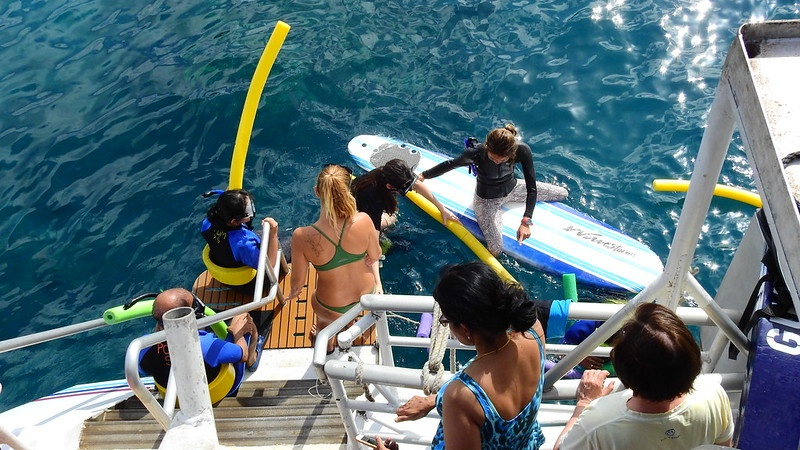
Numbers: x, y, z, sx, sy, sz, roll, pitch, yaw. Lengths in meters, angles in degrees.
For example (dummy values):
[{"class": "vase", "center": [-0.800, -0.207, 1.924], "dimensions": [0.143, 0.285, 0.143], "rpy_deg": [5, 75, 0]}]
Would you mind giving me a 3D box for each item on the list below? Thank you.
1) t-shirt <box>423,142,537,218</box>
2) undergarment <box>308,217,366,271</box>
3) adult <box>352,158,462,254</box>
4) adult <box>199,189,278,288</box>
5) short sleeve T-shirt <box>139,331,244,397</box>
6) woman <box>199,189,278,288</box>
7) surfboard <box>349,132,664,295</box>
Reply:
[{"class": "t-shirt", "center": [1.541, -0.897, 11.797], "dimensions": [1.933, 0.786, 1.264], "rpy_deg": [-14, 48, -14]}, {"class": "undergarment", "center": [-0.780, 0.178, 9.902], "dimensions": [0.936, 0.247, 0.868], "rpy_deg": [-8, 24, -22]}, {"class": "adult", "center": [0.157, -0.244, 11.666], "dimensions": [1.119, 0.572, 1.437], "rpy_deg": [29, -28, -22]}, {"class": "adult", "center": [-2.517, 0.281, 10.887], "dimensions": [0.974, 0.928, 1.288], "rpy_deg": [34, -30, 10]}, {"class": "short sleeve T-shirt", "center": [-2.984, 1.996, 10.008], "dimensions": [1.539, 0.941, 0.787], "rpy_deg": [-3, 24, 6]}, {"class": "woman", "center": [-2.517, 0.281, 10.887], "dimensions": [0.974, 0.928, 1.288], "rpy_deg": [34, -30, 10]}, {"class": "surfboard", "center": [1.949, -0.099, 11.720], "dimensions": [4.928, 1.101, 0.489], "rpy_deg": [26, -33, 16]}]
